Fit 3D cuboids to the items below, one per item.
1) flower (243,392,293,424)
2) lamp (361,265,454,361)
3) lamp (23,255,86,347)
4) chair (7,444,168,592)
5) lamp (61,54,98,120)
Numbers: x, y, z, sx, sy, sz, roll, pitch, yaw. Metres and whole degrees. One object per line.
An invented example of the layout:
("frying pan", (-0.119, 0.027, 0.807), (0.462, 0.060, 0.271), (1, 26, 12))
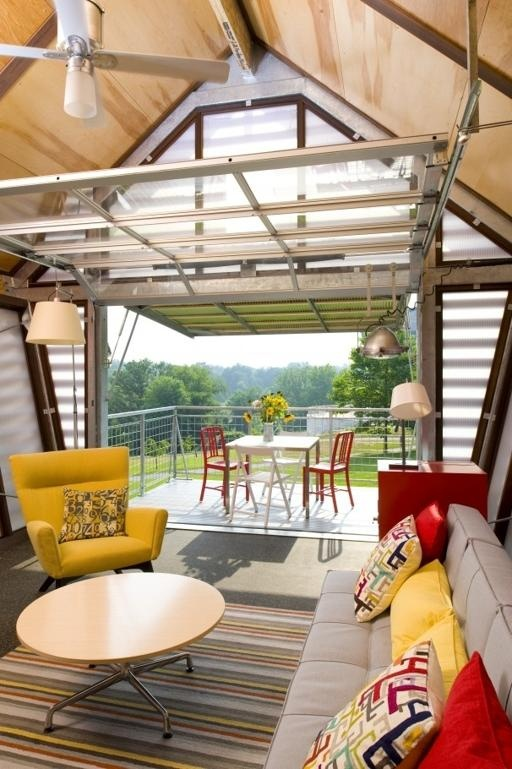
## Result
("flower", (0.182, 0.263, 6.128), (0.465, 0.372, 0.356), (0, 3, -26))
("lamp", (1.340, -0.653, 4.768), (0.742, 0.777, 0.553), (4, 9, 27))
("lamp", (-1.227, -0.427, 3.255), (0.333, 0.372, 0.342), (0, -3, 0))
("chair", (-1.026, 0.771, 3.754), (1.038, 1.166, 0.933), (3, -19, -31))
("lamp", (-0.646, -1.093, 2.034), (0.109, 0.230, 0.188), (0, 0, -16))
